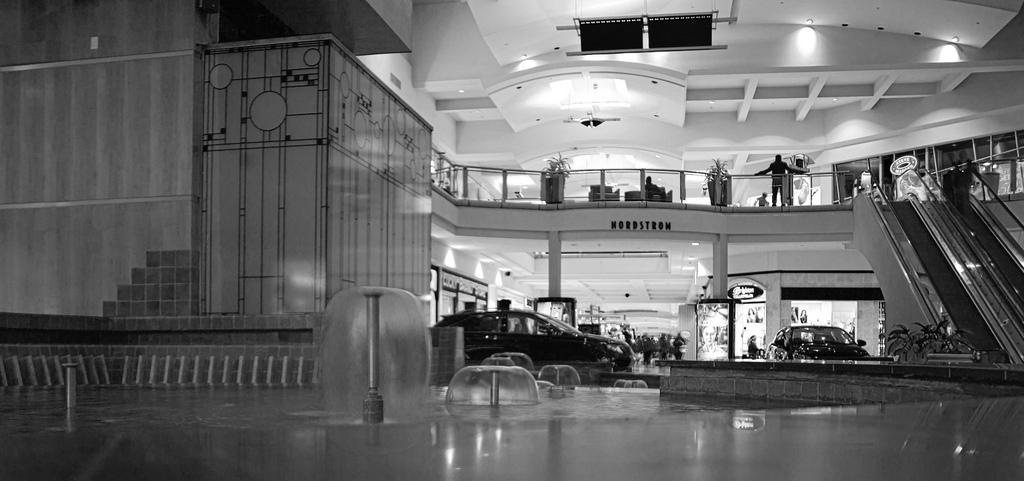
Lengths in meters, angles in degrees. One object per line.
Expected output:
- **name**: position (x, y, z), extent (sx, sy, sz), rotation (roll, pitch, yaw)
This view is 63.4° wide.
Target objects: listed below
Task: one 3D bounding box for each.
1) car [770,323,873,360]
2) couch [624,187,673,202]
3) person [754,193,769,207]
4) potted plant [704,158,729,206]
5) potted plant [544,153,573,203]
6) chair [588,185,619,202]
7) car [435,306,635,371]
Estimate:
- **car**: position (9.342, 3.163, 25.422), extent (1.773, 1.023, 2.598), rotation (-1, -17, 7)
- **couch**: position (4.789, -1.620, 29.197), extent (1.654, 0.503, 0.154), rotation (1, -13, 2)
- **person**: position (8.971, -1.461, 29.701), extent (0.342, 0.714, 0.476), rotation (-5, 8, -33)
- **potted plant**: position (7.462, -2.094, 29.892), extent (0.811, 1.796, 1.060), rotation (-1, -13, 16)
- **potted plant**: position (1.624, -2.130, 29.839), extent (0.923, 1.736, 0.852), rotation (2, -13, 3)
- **chair**: position (3.267, -1.665, 29.303), extent (1.025, 0.551, 0.645), rotation (-1, -10, 1)
- **car**: position (0.565, 2.843, 24.197), extent (5.059, 1.461, 2.112), rotation (-1, -6, 2)
